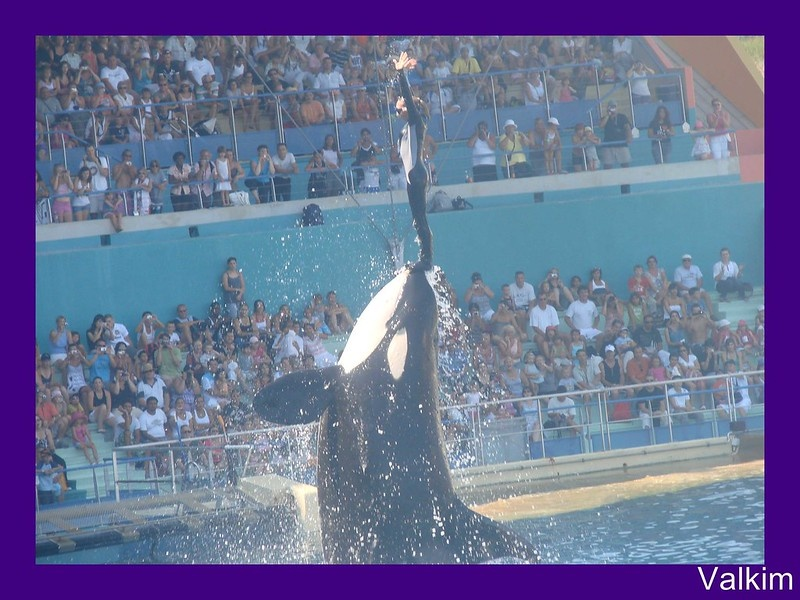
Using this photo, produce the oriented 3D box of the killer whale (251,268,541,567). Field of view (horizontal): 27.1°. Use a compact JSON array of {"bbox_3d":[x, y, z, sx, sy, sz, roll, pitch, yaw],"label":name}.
[{"bbox_3d":[0.015,0.967,13.616,1.839,4.042,1.138,-20,43,-24],"label":"killer whale"}]
